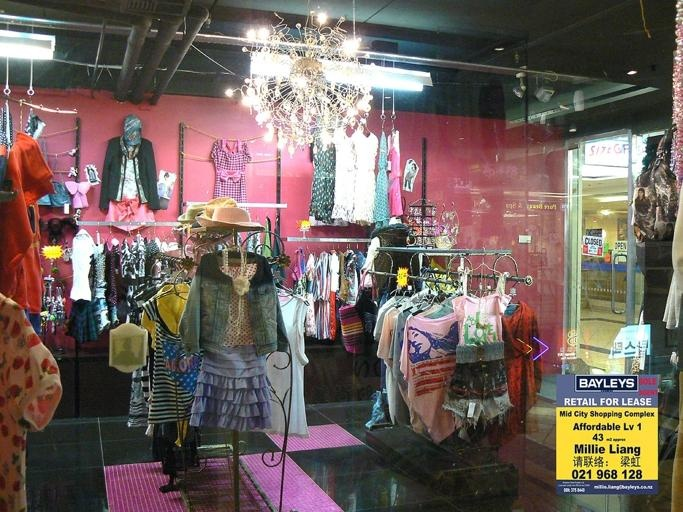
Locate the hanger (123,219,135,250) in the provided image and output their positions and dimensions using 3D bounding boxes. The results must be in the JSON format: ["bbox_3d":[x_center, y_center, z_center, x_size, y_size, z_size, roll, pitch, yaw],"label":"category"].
[{"bbox_3d":[-1.969,-0.198,5.423,0.094,0.237,0.121,-1,7,-20],"label":"hanger"}]

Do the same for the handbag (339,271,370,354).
[{"bbox_3d":[0.098,0.639,5.527,0.233,0.689,0.314,1,6,2],"label":"handbag"}]

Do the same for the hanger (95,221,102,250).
[{"bbox_3d":[-2.214,-0.177,5.347,0.073,0.255,0.155,-2,7,-24],"label":"hanger"}]

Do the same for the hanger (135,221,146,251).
[{"bbox_3d":[-1.864,-0.181,5.414,0.108,0.262,0.119,-1,7,-15],"label":"hanger"}]

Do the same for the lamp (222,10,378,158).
[{"bbox_3d":[-0.274,-1.334,4.666,1.015,1.093,0.480,-11,18,-1],"label":"lamp"}]

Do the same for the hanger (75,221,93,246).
[{"bbox_3d":[-2.338,-0.211,5.297,0.126,0.187,0.128,-2,7,-22],"label":"hanger"}]

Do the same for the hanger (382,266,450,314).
[{"bbox_3d":[0.574,0.260,4.360,0.325,0.151,0.438,-21,12,-6],"label":"hanger"}]

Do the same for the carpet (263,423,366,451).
[{"bbox_3d":[-0.167,1.534,5.010,0.628,0.051,0.505,0,8,-8],"label":"carpet"}]

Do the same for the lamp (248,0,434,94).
[{"bbox_3d":[-0.219,-1.469,4.317,0.734,0.498,1.226,2,5,-37],"label":"lamp"}]

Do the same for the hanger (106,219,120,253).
[{"bbox_3d":[-2.114,-0.197,5.390,0.116,0.319,0.162,-2,7,-23],"label":"hanger"}]
